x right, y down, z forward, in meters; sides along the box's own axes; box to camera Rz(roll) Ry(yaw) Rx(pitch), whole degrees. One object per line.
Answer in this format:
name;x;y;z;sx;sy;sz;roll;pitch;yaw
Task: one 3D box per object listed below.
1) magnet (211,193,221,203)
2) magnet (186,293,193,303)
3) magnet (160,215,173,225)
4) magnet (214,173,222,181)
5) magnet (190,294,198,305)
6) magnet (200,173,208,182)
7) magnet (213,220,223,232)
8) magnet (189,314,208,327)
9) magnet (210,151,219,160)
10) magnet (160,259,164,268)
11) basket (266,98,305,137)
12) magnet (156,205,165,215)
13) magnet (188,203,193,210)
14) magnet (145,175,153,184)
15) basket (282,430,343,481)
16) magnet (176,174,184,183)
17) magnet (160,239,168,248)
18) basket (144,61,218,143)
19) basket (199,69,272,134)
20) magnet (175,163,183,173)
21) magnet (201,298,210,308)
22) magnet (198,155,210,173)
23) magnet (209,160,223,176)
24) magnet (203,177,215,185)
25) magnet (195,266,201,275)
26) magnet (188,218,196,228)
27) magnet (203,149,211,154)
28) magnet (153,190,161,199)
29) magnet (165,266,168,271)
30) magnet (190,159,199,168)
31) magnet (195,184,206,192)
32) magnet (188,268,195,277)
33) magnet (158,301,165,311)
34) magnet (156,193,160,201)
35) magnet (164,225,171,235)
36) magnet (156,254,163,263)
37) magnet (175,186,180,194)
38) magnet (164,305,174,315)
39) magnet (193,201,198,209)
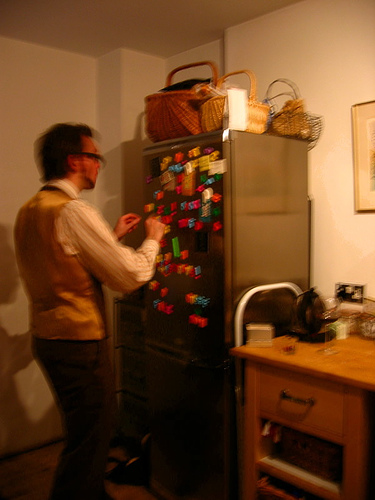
magnet;0.111;-0.203;1.670;0.027;0.029;0.029;-25;26;-31
magnet;0.013;0.195;1.810;0.030;0.041;0.040;0;3;14
magnet;-0.098;-0.131;1.897;0.041;0.040;0.010;6;7;44
magnet;0.115;-0.281;1.663;0.027;0.025;0.007;4;7;44
magnet;0.028;0.200;1.780;0.031;0.058;0.037;2;0;5
magnet;0.064;-0.286;1.717;0.009;0.026;0.026;0;2;-42
magnet;0.119;-0.092;1.666;0.024;0.041;0.022;37;28;31
magnet;0.043;0.288;1.767;0.023;0.048;0.101;-9;13;-38
magnet;0.107;-0.364;1.678;0.019;0.033;0.008;6;-4;42
magnet;-0.114;0.059;1.943;0.022;0.040;0.023;0;0;-45
basket;0.437;-0.565;1.887;0.123;0.181;0.179;-9;22;-28
magnet;-0.120;-0.182;1.943;0.030;0.054;0.045;-1;8;-37
magnet;0.014;-0.179;1.777;0.005;0.021;0.022;-3;5;-36
magnet;-0.178;-0.326;2.015;0.009;0.035;0.035;9;-5;-40
basket;0.440;0.663;1.499;0.104;0.095;0.188;3;-1;-34
magnet;-0.032;-0.302;1.837;0.007;0.030;0.030;-1;-4;-38
magnet;-0.104;-0.031;1.926;0.030;0.030;0.010;-1;0;33
basket;0.015;-0.689;2.064;0.277;0.402;0.422;5;12;33
basket;0.193;-0.644;1.943;0.372;0.351;0.237;-13;19;-37
magnet;-0.037;-0.343;1.835;0.007;0.032;0.032;-2;4;-40
magnet;0.076;0.212;1.725;0.031;0.034;0.008;0;1;21
magnet;0.067;-0.341;1.719;0.025;0.067;0.069;-5;7;-26
magnet;0.112;-0.314;1.672;0.044;0.059;0.060;0;2;-6
magnet;0.090;-0.268;1.696;0.006;0.017;0.033;7;-25;-32
magnet;0.043;0.083;1.760;0.007;0.027;0.029;5;1;-38
magnet;0.017;-0.112;1.777;0.030;0.028;0.007;-6;14;-40
magnet;0.078;-0.387;1.708;0.017;0.022;0.030;-8;12;-35
magnet;-0.138;-0.253;1.969;0.006;0.031;0.030;7;-6;-38
magnet;-0.092;0.078;1.918;0.011;0.021;0.011;-5;7;-31
magnet;0.030;-0.352;1.771;0.028;0.030;0.029;-4;10;-33
magnet;0.054;-0.246;1.737;0.014;0.030;0.041;0;11;-24
magnet;0.018;0.091;1.782;0.028;0.030;0.010;0;2;43
magnet;-0.117;0.249;1.938;0.030;0.055;0.039;4;-6;-19
magnet;-0.132;-0.239;1.957;0.007;0.025;0.026;6;-2;-24
magnet;-0.088;-0.090;1.903;0.030;0.041;0.028;-1;-2;-44
magnet;-0.126;0.038;1.953;0.025;0.045;0.047;0;-1;39
magnet;-0.041;-0.259;1.852;0.006;0.024;0.025;-3;7;-32
magnet;-0.079;0.260;1.899;0.031;0.044;0.035;-3;8;-33
magnet;0.034;-0.181;1.752;0.007;0.032;0.026;-7;12;-34
